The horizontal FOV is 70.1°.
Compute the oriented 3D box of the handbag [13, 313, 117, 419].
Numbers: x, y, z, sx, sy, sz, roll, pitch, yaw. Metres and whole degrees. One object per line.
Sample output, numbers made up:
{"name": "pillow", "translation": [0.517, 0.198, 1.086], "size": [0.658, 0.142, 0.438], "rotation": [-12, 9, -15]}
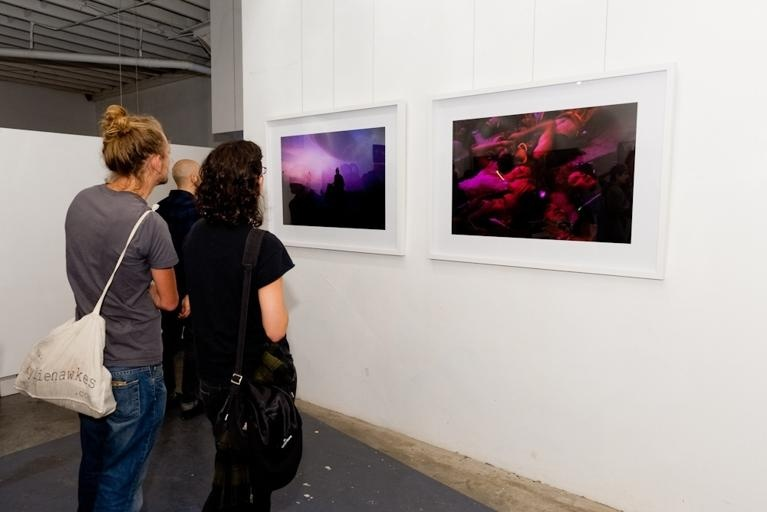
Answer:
{"name": "handbag", "translation": [-1.723, 0.577, 2.981], "size": [0.489, 0.529, 0.147], "rotation": [0, 9, 12]}
